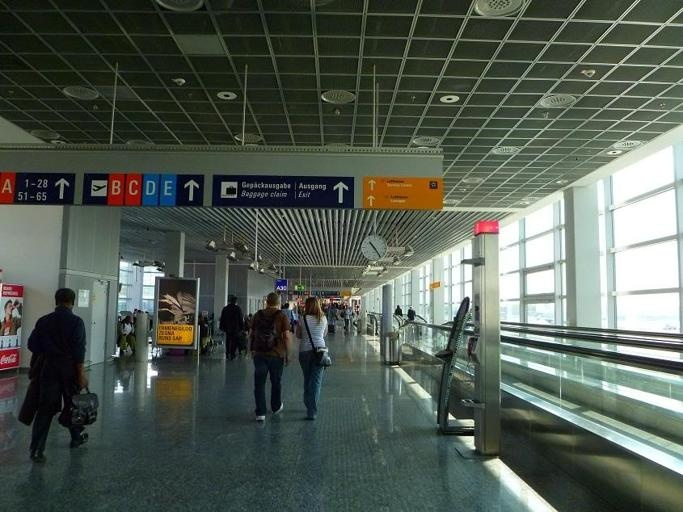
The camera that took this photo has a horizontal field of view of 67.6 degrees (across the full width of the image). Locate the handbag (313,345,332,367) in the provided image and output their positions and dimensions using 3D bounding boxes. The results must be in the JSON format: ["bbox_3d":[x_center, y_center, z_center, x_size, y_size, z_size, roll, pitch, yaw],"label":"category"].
[{"bbox_3d":[-0.278,1.526,7.757,0.259,0.288,0.177,-3,-7,23],"label":"handbag"}]

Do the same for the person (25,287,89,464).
[{"bbox_3d":[-3.463,1.499,6.192,0.643,1.745,0.351,3,-7,-24],"label":"person"}]

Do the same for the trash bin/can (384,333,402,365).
[{"bbox_3d":[1.369,2.460,13.563,0.437,0.852,0.400,-1,-7,3],"label":"trash bin/can"}]

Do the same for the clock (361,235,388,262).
[{"bbox_3d":[1.173,-0.370,18.596,0.792,0.938,1.507,0,-6,1],"label":"clock"}]

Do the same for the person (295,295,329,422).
[{"bbox_3d":[-0.446,1.544,8.009,0.514,1.794,0.824,0,-7,-4],"label":"person"}]

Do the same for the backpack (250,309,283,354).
[{"bbox_3d":[-1.111,1.144,7.604,0.618,0.757,0.434,-1,-18,5],"label":"backpack"}]

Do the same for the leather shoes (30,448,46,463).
[{"bbox_3d":[-3.547,2.322,5.959,0.172,0.149,0.119,0,-2,-44],"label":"leather shoes"}]

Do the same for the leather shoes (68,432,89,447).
[{"bbox_3d":[-3.267,2.285,6.405,0.100,0.186,0.282,4,-1,9],"label":"leather shoes"}]
